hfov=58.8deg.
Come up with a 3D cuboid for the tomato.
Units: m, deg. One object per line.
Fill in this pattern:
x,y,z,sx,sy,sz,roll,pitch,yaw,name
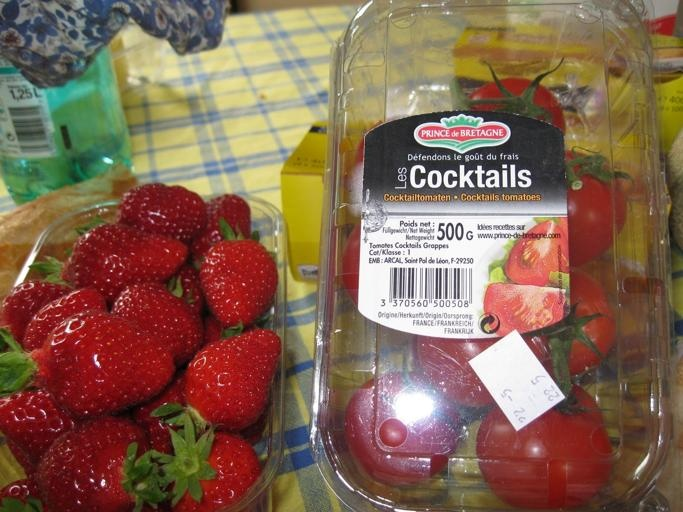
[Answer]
0.169,0.055,0.690,0.319,0.202,0.392,3,60,5,tomato
